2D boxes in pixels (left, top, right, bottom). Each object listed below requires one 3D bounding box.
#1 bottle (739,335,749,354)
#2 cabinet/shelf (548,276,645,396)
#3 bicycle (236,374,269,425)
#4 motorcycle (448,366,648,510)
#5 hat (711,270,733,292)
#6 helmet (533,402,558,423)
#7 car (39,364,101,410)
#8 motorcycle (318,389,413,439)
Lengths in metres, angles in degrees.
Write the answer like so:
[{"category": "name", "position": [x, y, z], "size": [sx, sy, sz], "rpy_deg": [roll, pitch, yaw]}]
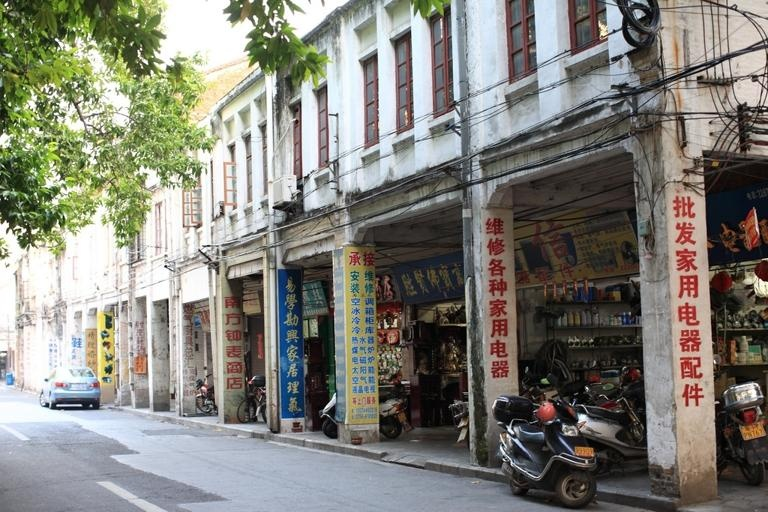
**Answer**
[{"category": "bottle", "position": [6.823, 1.636, 15.935], "size": [0.234, 0.329, 0.103], "rpy_deg": [9, -19, -36]}, {"category": "cabinet/shelf", "position": [4.692, 1.744, 18.953], "size": [2.450, 2.298, 0.733], "rpy_deg": [-1, 2, -16]}, {"category": "bicycle", "position": [-3.689, 4.054, 24.229], "size": [0.886, 1.288, 0.654], "rpy_deg": [-11, -17, 25]}, {"category": "motorcycle", "position": [2.491, 2.921, 12.943], "size": [0.702, 1.779, 1.548], "rpy_deg": [6, -18, -29]}, {"category": "hat", "position": [6.390, 0.456, 15.832], "size": [0.390, 0.434, 0.383], "rpy_deg": [0, -6, 2]}, {"category": "helmet", "position": [2.459, 2.335, 12.760], "size": [0.282, 0.214, 0.311], "rpy_deg": [1, -7, 4]}, {"category": "car", "position": [-11.875, 4.904, 32.112], "size": [1.748, 1.672, 2.029], "rpy_deg": [7, -18, -32]}, {"category": "motorcycle", "position": [-0.398, 3.585, 19.312], "size": [1.932, 1.211, 0.963], "rpy_deg": [3, -20, -3]}]
